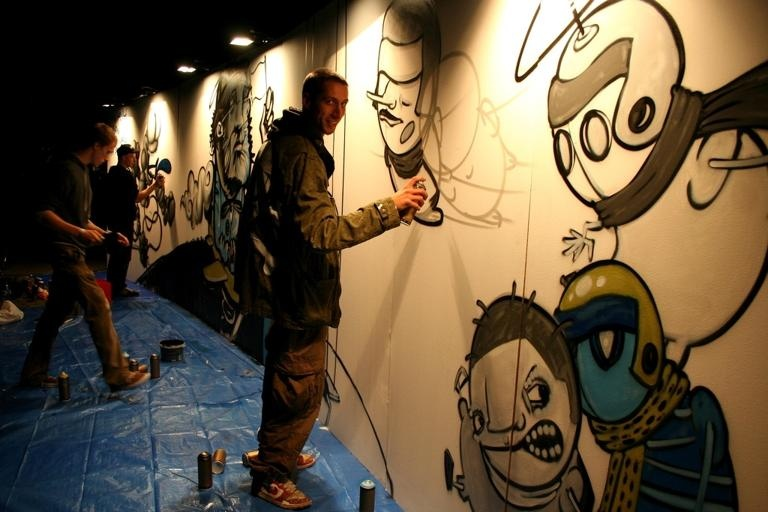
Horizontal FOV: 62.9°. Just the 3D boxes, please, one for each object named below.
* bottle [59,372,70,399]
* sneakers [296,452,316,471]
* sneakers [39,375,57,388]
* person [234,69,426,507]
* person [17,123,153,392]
[{"bbox_3d":[-2.602,1.063,5.068,0.072,0.210,0.081,-3,12,-27],"label":"bottle"},{"bbox_3d":[-0.545,1.429,4.414,0.075,0.099,0.201,4,5,35],"label":"sneakers"},{"bbox_3d":[-2.878,1.072,5.328,0.161,0.093,0.064,-4,7,-23],"label":"sneakers"},{"bbox_3d":[-0.464,0.255,3.854,0.995,2.741,0.560,3,10,5],"label":"person"},{"bbox_3d":[-2.521,0.027,5.145,0.944,2.214,0.420,1,10,-5],"label":"person"}]
